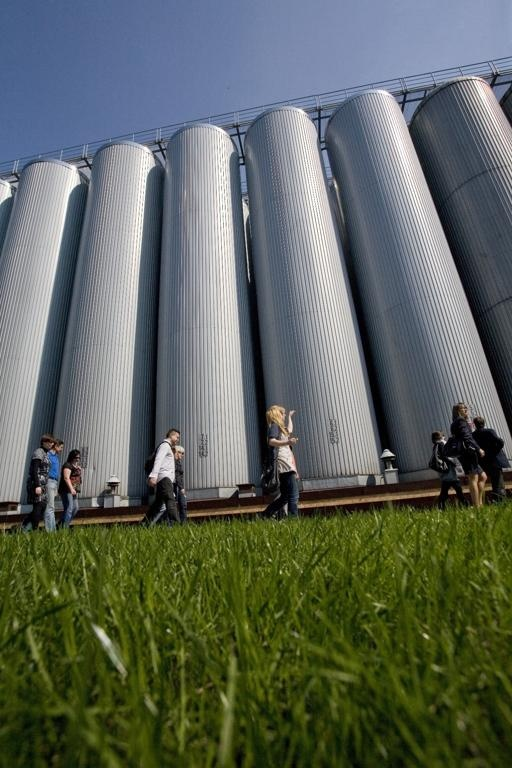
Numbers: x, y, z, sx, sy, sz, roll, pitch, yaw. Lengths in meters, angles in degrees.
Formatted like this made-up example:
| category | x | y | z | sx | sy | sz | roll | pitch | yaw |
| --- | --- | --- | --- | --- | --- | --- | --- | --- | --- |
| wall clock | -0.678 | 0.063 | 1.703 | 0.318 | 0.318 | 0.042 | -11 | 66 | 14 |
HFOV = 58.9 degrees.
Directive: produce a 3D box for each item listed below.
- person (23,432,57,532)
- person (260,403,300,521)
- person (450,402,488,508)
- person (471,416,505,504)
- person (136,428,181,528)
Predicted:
| category | x | y | z | sx | sy | sz | roll | pitch | yaw |
| --- | --- | --- | --- | --- | --- | --- | --- | --- | --- |
| person | -2.793 | 1.071 | 6.409 | 0.304 | 1.510 | 1.413 | 4 | -22 | -25 |
| person | 0.387 | 0.924 | 6.963 | 0.595 | 1.869 | 0.672 | -23 | -58 | 12 |
| person | 2.593 | 0.716 | 5.879 | 0.267 | 1.400 | 0.356 | -16 | -19 | 30 |
| person | 3.054 | 0.878 | 6.436 | 0.283 | 1.134 | 0.484 | -14 | -53 | 15 |
| person | -1.060 | 0.980 | 5.733 | 0.390 | 1.160 | 0.332 | -7 | -19 | 19 |
